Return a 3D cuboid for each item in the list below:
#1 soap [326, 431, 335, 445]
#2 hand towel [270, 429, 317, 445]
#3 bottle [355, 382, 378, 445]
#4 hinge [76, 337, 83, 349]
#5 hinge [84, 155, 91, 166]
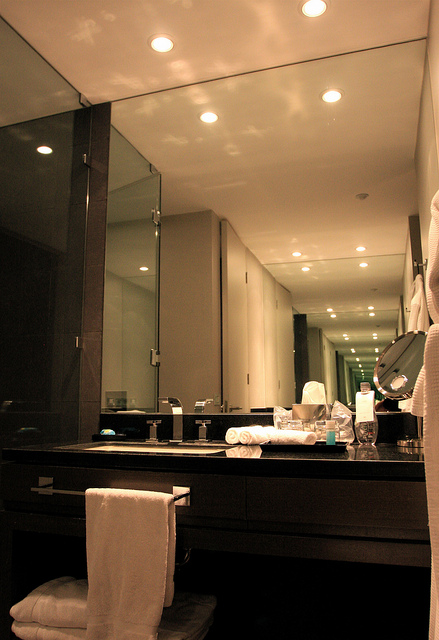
[{"bbox_3d":[0.308,0.325,1.381,0.025,0.032,0.049,-2,-8,11],"label":"soap"},{"bbox_3d":[0.216,0.339,1.443,0.136,0.034,0.087,-5,-9,33],"label":"hand towel"},{"bbox_3d":[0.461,0.292,1.583,0.063,0.188,0.115,-2,-7,14],"label":"bottle"},{"bbox_3d":[-0.605,0.104,2.162,0.035,0.057,0.039,0,-2,10],"label":"hinge"},{"bbox_3d":[-0.608,-0.737,2.293,0.009,0.038,0.035,2,2,41],"label":"hinge"}]
